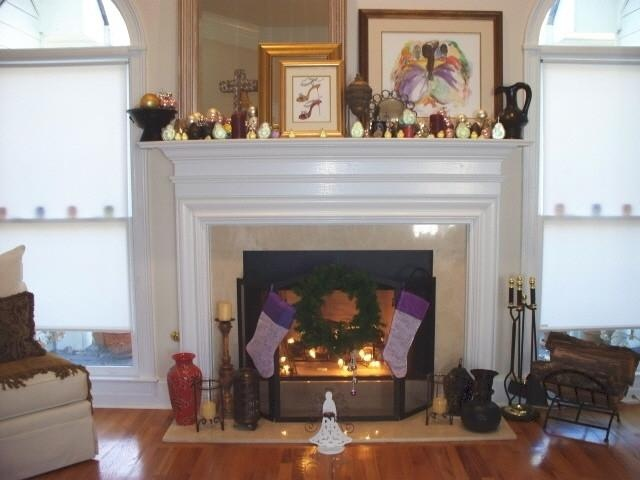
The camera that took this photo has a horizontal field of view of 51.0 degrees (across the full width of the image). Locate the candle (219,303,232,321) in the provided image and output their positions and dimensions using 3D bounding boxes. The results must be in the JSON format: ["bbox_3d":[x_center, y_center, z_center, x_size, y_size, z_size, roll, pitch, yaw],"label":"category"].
[{"bbox_3d":[-0.690,0.510,4.858,0.105,0.123,0.181,-1,5,-10],"label":"candle"}]

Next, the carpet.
[{"bbox_3d":[0.131,1.307,4.631,2.389,0.087,0.301,-1,5,-2],"label":"carpet"}]

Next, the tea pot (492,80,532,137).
[{"bbox_3d":[1.367,-0.904,4.732,0.243,0.389,0.292,1,5,19],"label":"tea pot"}]

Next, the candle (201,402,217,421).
[{"bbox_3d":[-0.773,1.185,4.722,0.120,0.155,0.127,-1,8,-14],"label":"candle"}]

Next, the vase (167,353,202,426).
[{"bbox_3d":[-0.950,1.051,4.746,0.229,0.481,0.246,-4,3,4],"label":"vase"}]
